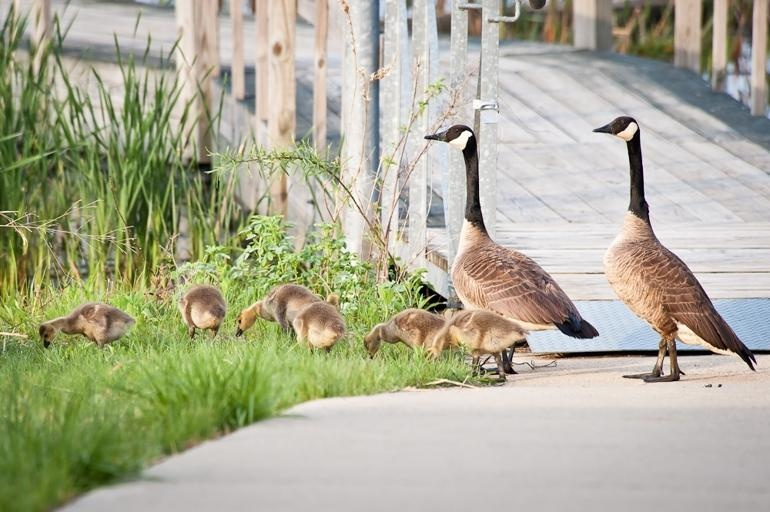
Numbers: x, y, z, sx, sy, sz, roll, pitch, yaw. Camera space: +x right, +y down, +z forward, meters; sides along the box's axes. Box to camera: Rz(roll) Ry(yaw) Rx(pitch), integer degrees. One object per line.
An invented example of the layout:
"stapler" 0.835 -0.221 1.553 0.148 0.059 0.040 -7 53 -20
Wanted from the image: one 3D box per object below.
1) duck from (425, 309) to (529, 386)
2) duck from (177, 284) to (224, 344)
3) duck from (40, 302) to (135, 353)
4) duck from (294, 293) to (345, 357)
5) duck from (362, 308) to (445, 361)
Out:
"duck" 0.674 0.617 9.260 0.678 0.506 0.320 -4 3 -1
"duck" -1.371 0.421 9.856 0.350 0.410 0.292 1 4 5
"duck" -2.215 0.510 9.708 0.705 0.346 0.199 1 4 9
"duck" -0.462 0.517 9.425 0.406 0.369 0.243 1 4 7
"duck" 0.140 0.556 9.551 0.603 0.273 0.359 -11 33 23
